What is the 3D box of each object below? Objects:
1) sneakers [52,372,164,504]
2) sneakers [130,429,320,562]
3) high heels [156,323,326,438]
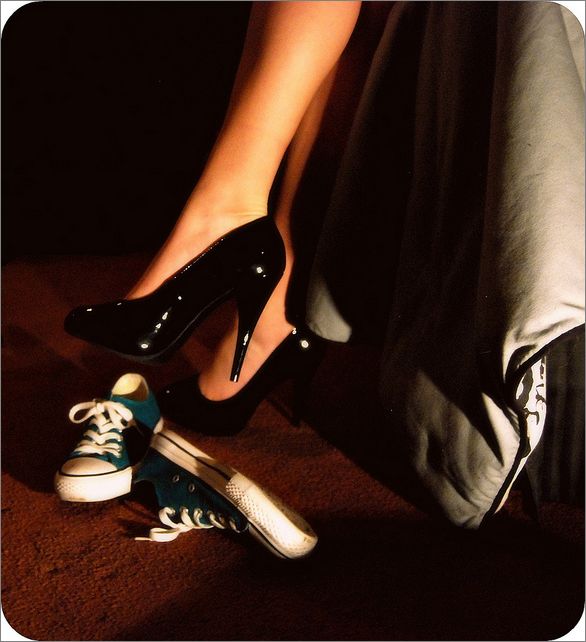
[{"bbox_3d":[-0.261,0.167,0.885,0.081,0.088,0.233,9,26,3],"label":"sneakers"},{"bbox_3d":[-0.103,0.222,0.812,0.280,0.102,0.107,35,76,34],"label":"sneakers"},{"bbox_3d":[-0.069,0.066,1.039,0.291,0.239,0.130,6,18,-5],"label":"high heels"}]
